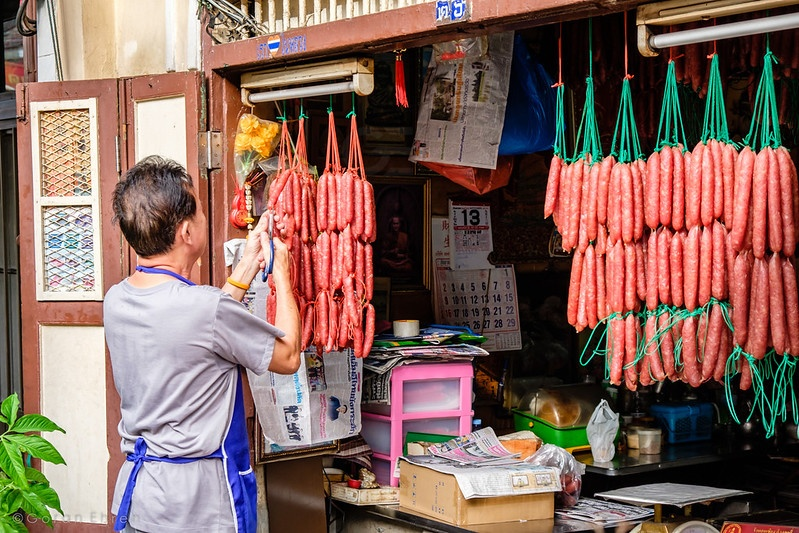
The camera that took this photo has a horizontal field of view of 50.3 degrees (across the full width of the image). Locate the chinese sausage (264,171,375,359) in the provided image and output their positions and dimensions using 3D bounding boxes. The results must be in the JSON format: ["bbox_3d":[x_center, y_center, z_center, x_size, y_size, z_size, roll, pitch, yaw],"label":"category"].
[{"bbox_3d":[-0.304,-0.004,4.500,0.591,0.962,0.197,-1,-1,6],"label":"chinese sausage"}]

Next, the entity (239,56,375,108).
[{"bbox_3d":[-0.538,-0.994,4.648,0.886,0.211,0.150,2,7,37],"label":"entity"}]

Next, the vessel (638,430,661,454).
[{"bbox_3d":[1.675,1.164,5.711,0.157,0.138,0.154,0,-4,-13],"label":"vessel"}]

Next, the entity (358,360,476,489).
[{"bbox_3d":[0.014,1.061,5.425,0.838,0.860,0.838,-1,-6,3],"label":"entity"}]
